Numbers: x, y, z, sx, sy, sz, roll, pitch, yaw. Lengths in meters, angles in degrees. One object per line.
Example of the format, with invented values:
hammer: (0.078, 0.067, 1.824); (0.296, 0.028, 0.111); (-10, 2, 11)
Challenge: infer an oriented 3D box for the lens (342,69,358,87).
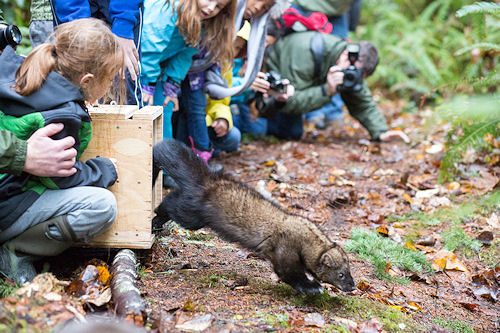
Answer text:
lens: (1.632, -1.426, 8.323); (0.236, 0.286, 0.152); (9, 36, 10)

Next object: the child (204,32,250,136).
child: (-0.360, -1.314, 8.118); (0.551, 1.565, 0.523); (2, -7, -2)

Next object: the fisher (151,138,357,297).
fisher: (-0.063, 0.652, 6.010); (2.908, 1.120, 0.760); (27, 39, 18)

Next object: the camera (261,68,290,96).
camera: (0.429, -1.261, 7.610); (0.143, 0.356, 0.363); (-23, 48, -35)
